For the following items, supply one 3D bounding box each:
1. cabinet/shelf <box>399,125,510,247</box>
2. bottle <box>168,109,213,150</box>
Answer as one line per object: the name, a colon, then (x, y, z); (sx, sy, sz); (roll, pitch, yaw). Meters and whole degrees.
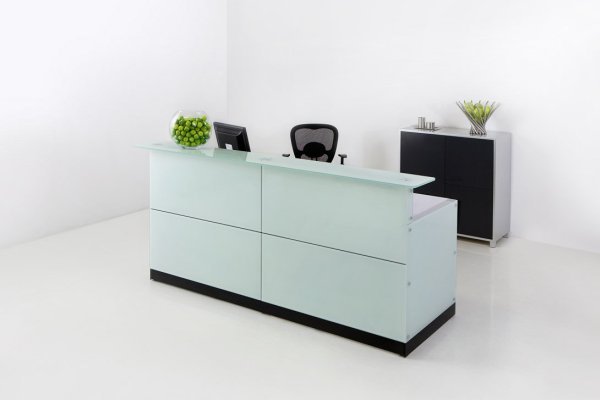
cabinet/shelf: (2.088, -0.100, 6.618); (1.512, 1.631, 0.581); (9, -19, -2)
bottle: (-1.262, -0.815, 5.212); (0.427, 0.383, 0.434); (3, 5, 2)
